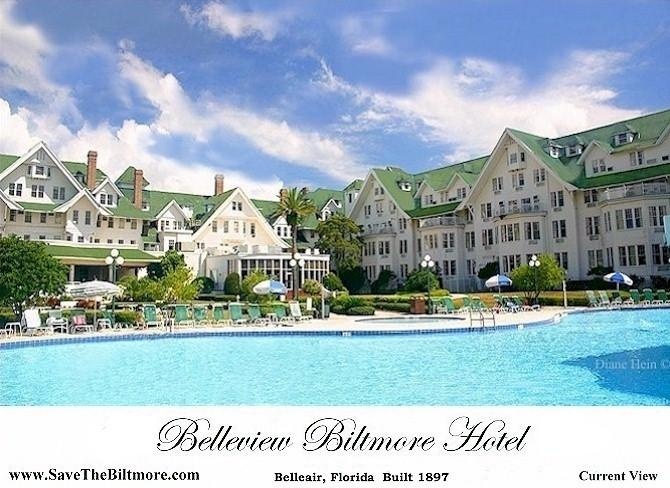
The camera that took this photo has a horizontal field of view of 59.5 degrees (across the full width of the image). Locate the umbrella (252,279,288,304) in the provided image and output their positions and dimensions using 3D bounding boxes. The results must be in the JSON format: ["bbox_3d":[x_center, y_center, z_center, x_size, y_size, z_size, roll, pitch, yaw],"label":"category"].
[{"bbox_3d":[-4.524,3.225,41.779,2.118,1.443,2.154,5,-5,-28],"label":"umbrella"}]

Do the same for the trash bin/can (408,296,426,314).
[{"bbox_3d":[6.098,4.651,43.670,1.146,1.645,1.160,-1,-5,4],"label":"trash bin/can"}]

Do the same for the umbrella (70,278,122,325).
[{"bbox_3d":[-15.576,3.935,38.107,2.590,2.773,2.633,-1,-10,-5],"label":"umbrella"}]
